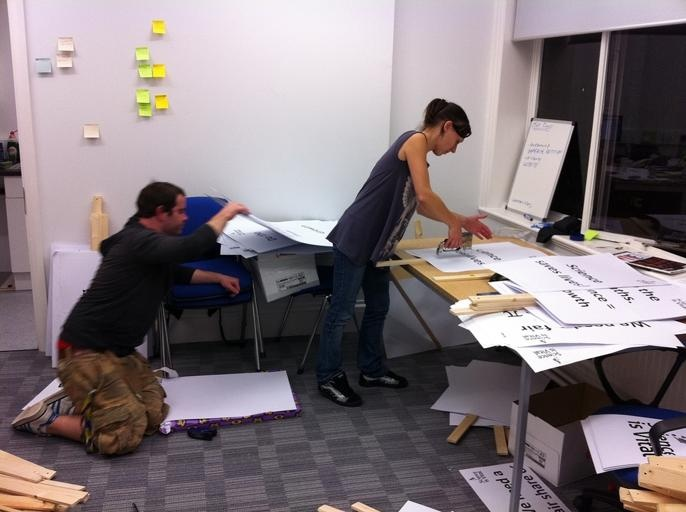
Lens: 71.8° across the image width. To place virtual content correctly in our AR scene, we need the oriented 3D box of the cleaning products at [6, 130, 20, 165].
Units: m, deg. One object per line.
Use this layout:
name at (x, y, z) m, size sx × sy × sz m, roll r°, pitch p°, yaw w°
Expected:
cleaning products at (-3.315, -1.082, 4.712) m, size 0.124 × 0.293 × 0.593 m, roll -11°, pitch 22°, yaw -31°

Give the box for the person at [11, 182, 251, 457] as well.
person at (-1.194, 0.393, 2.512) m, size 1.026 × 1.147 × 0.578 m, roll -16°, pitch 25°, yaw -40°

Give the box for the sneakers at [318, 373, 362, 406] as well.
sneakers at (-0.039, 0.826, 2.978) m, size 0.118 × 0.128 × 0.317 m, roll -7°, pitch 10°, yaw -40°

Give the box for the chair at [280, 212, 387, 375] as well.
chair at (-0.112, 0.194, 3.728) m, size 1.058 × 1.403 × 0.875 m, roll -1°, pitch 14°, yaw -3°

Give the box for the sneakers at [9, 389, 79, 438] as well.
sneakers at (-1.566, 0.838, 2.650) m, size 0.165 × 0.179 × 0.439 m, roll 32°, pitch 10°, yaw 17°

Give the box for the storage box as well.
storage box at (1.016, 0.833, 2.154) m, size 0.567 × 0.337 × 0.300 m, roll -7°, pitch 19°, yaw -23°

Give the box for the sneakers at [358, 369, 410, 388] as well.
sneakers at (0.261, 0.802, 3.128) m, size 0.308 × 0.102 × 0.117 m, roll -1°, pitch 5°, yaw 2°
